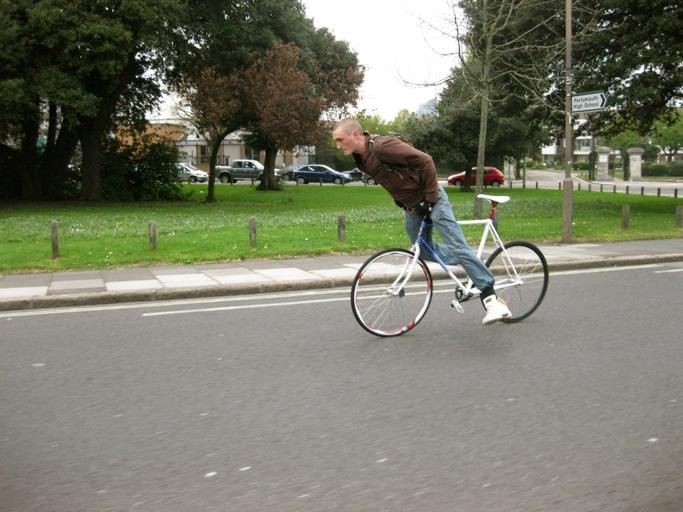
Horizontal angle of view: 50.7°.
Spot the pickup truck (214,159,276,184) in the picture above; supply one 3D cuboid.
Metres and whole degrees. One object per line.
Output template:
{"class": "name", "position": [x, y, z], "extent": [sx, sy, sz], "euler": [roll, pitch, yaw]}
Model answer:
{"class": "pickup truck", "position": [-8.275, -6.821, 58.468], "extent": [3.401, 1.815, 3.647], "euler": [-2, 9, -17]}

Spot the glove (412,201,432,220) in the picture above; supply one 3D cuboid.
{"class": "glove", "position": [0.842, -0.474, 7.574], "extent": [0.193, 0.187, 0.141], "euler": [11, -2, 3]}

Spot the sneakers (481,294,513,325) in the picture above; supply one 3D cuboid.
{"class": "sneakers", "position": [1.723, 0.575, 7.861], "extent": [0.176, 0.248, 0.506], "euler": [-37, -22, 31]}

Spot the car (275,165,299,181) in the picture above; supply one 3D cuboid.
{"class": "car", "position": [-4.506, -6.837, 59.991], "extent": [2.069, 1.060, 1.301], "euler": [7, 11, 10]}

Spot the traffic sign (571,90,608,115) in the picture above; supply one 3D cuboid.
{"class": "traffic sign", "position": [5.394, -3.350, 15.751], "extent": [0.252, 0.448, 0.935], "euler": [-4, 10, -26]}

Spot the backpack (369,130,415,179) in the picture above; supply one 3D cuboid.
{"class": "backpack", "position": [0.491, -1.055, 7.526], "extent": [0.387, 0.476, 0.416], "euler": [1, 8, 5]}

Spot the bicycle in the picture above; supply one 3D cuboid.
{"class": "bicycle", "position": [1.277, 0.065, 7.966], "extent": [2.477, 1.560, 1.015], "euler": [-4, 18, -21]}
